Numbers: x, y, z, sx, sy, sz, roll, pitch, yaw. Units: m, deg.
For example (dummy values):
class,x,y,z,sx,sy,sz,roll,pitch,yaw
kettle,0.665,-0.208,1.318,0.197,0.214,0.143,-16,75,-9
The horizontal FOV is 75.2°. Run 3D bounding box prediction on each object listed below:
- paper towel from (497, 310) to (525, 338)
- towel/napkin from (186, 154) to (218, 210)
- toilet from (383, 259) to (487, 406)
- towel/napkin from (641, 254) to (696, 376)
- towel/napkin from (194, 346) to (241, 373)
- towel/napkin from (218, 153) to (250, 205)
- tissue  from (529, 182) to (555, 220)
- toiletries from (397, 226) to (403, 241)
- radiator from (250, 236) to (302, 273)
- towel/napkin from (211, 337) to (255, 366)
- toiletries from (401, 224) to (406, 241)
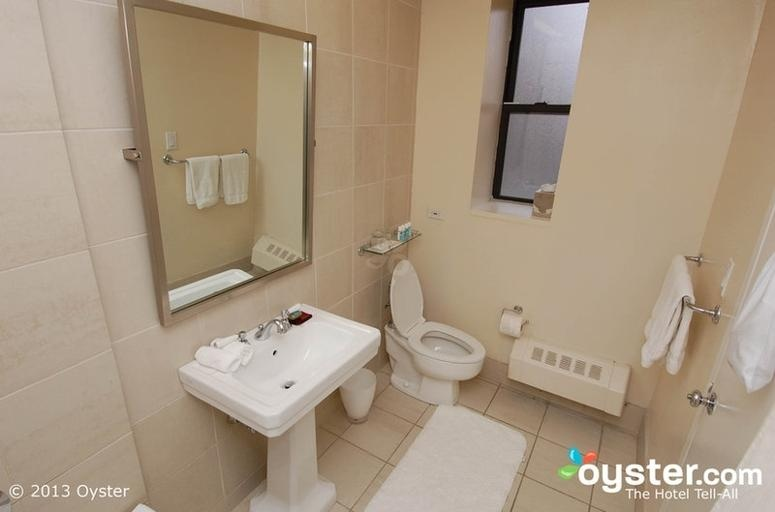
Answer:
class,x,y,z,sx,sy,sz,roll,pitch,yaw
paper towel,0.852,0.450,3.437,0.170,0.169,0.092,16,8,36
towel/napkin,-0.847,-0.346,2.263,0.044,0.234,0.184,20,30,25
toilet,0.317,0.521,3.466,0.756,0.912,0.450,16,24,31
towel/napkin,1.538,0.299,2.728,0.185,0.484,0.622,12,15,19
towel/napkin,-0.823,0.483,2.400,0.154,0.048,0.119,15,26,6
towel/napkin,-0.735,-0.376,2.375,0.036,0.265,0.169,25,37,27
tissue ,1.019,-0.358,3.269,0.121,0.206,0.145,9,24,14
toiletries,0.083,-0.165,3.434,0.033,0.072,0.065,2,24,-2
radiator,-0.653,0.044,2.909,0.268,0.187,0.531,-12,-11,-18
towel/napkin,-0.755,0.443,2.467,0.144,0.055,0.140,19,26,17
toiletries,0.108,-0.167,3.446,0.019,0.081,0.056,8,-4,18
